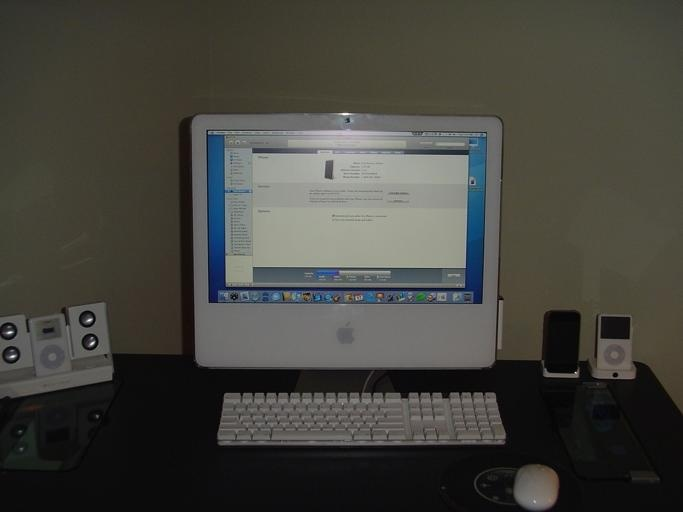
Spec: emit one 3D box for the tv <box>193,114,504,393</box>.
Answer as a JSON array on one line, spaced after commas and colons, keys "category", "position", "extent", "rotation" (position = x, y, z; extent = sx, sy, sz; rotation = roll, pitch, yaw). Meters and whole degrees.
[{"category": "tv", "position": [0.013, -0.031, 1.312], "extent": [0.634, 0.563, 0.151], "rotation": [0, 5, 0]}]
